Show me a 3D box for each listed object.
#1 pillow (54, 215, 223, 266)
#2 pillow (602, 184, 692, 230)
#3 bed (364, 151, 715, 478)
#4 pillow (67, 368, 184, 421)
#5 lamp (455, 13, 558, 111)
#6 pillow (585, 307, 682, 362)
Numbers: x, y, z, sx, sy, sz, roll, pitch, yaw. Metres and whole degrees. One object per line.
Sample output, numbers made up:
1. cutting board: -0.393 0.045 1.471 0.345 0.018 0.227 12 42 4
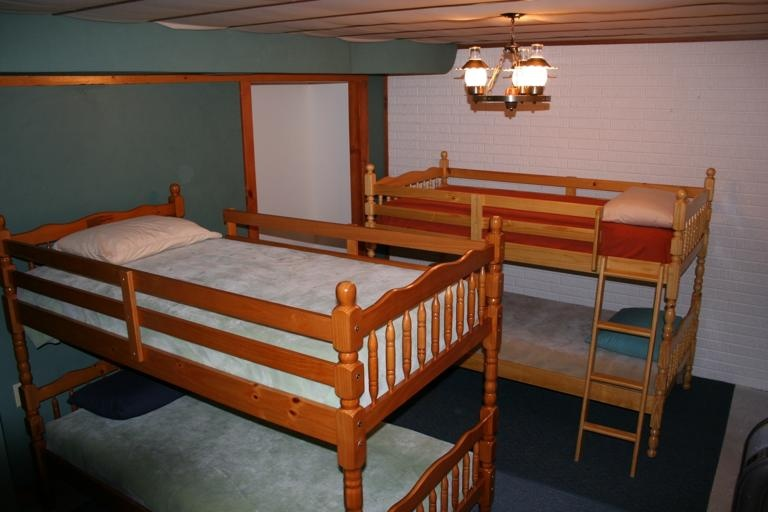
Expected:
1. pillow: -2.446 -0.190 5.133 0.849 0.186 0.865 6 21 4
2. pillow: 2.371 -0.440 5.226 0.501 0.169 0.766 2 15 26
3. bed: 1.611 0.624 5.341 3.299 2.120 1.856 8 18 30
4. pillow: -2.204 1.201 4.870 0.555 0.127 0.517 11 14 34
5. lamp: 1.061 -1.723 4.952 0.934 0.751 0.815 0 18 5
6. pillow: 2.437 0.756 5.465 0.647 0.140 0.671 6 20 35
